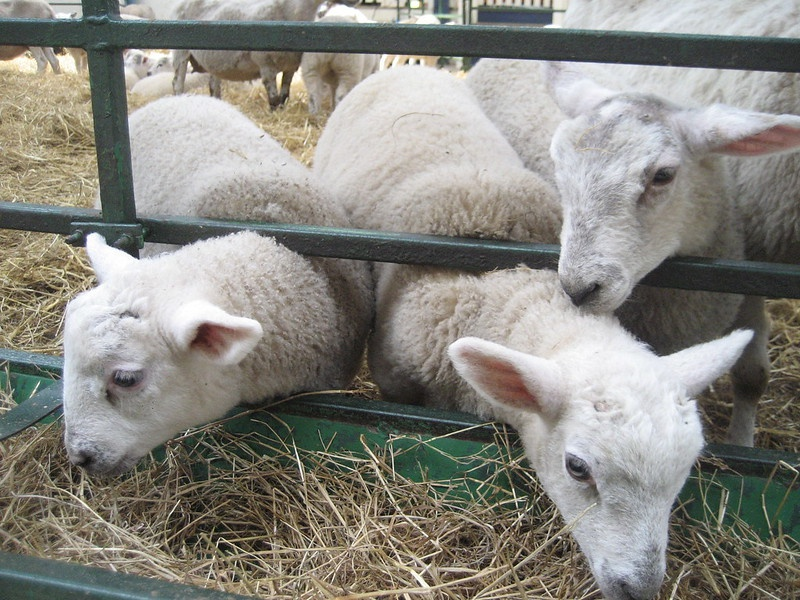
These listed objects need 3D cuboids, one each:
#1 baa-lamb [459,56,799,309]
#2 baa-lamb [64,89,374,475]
[{"bbox_3d":[1.034,-0.639,4.921,1.151,1.121,1.567,7,40,24],"label":"baa-lamb"},{"bbox_3d":[-1.168,-0.154,4.967,1.177,1.516,2.090,0,41,-35],"label":"baa-lamb"}]
